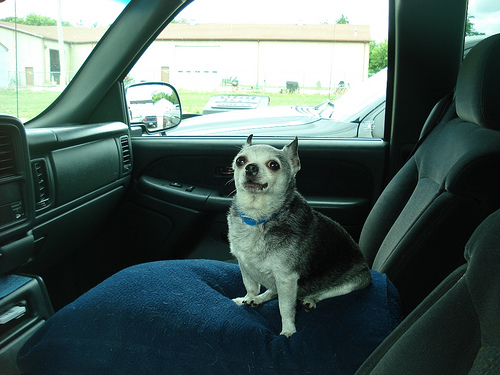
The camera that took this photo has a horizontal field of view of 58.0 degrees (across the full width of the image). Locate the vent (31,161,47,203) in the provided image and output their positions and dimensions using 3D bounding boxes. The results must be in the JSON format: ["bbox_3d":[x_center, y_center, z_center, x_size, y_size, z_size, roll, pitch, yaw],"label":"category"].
[{"bbox_3d":[-1.114,-0.036,2.382,0.030,0.210,0.098,7,19,13],"label":"vent"}]

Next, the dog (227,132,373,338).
[{"bbox_3d":[0.212,0.171,2.210,0.619,0.738,0.743,-9,22,-31],"label":"dog"}]
